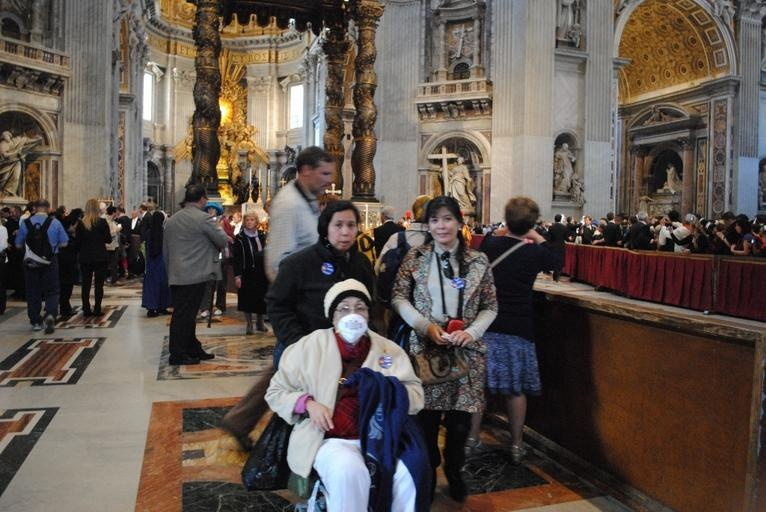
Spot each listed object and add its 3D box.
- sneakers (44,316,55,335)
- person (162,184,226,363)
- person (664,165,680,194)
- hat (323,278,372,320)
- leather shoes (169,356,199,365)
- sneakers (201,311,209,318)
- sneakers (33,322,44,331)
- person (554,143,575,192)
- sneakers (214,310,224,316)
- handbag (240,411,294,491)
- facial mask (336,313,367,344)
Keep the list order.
[{"bbox_3d":[-5.307,1.083,10.254,0.128,0.307,0.129,4,6,-10],"label":"sneakers"},{"bbox_3d":[-2.632,0.244,8.916,0.825,2.428,0.647,-6,13,-33],"label":"person"},{"bbox_3d":[13.131,-3.505,29.213,0.405,1.284,0.950,1,11,1],"label":"person"},{"bbox_3d":[-0.318,0.361,5.508,0.320,0.214,0.376,0,-17,-14],"label":"hat"},{"bbox_3d":[-2.726,1.415,8.849,0.402,0.175,0.137,-1,1,-14],"label":"leather shoes"},{"bbox_3d":[-3.250,1.058,11.818,0.208,0.097,0.100,2,-4,18],"label":"sneakers"},{"bbox_3d":[-5.605,1.136,10.444,0.154,0.108,0.147,-5,13,-28],"label":"sneakers"},{"bbox_3d":[6.534,-3.135,23.183,0.949,1.769,0.448,-5,13,-31],"label":"person"},{"bbox_3d":[-3.106,1.055,12.135,0.121,0.054,0.124,-3,1,19],"label":"sneakers"},{"bbox_3d":[-0.953,1.699,5.636,0.480,0.639,0.229,6,-11,23],"label":"handbag"},{"bbox_3d":[-0.263,0.605,5.460,0.233,0.166,0.251,3,-4,-7],"label":"facial mask"}]
